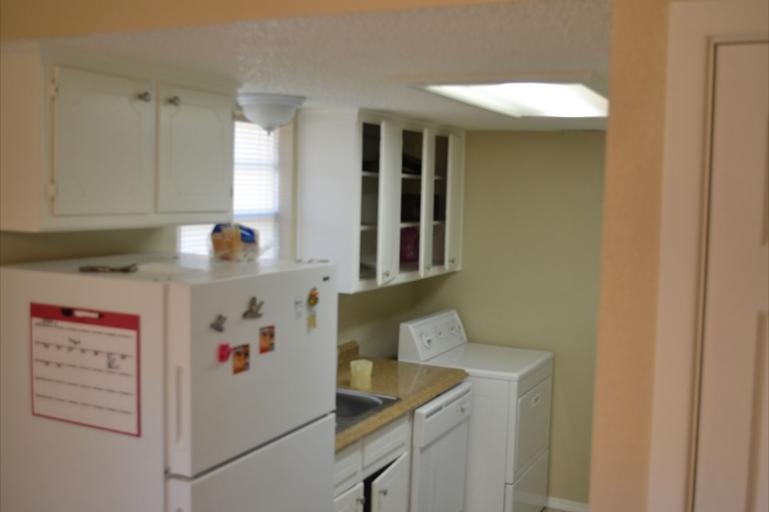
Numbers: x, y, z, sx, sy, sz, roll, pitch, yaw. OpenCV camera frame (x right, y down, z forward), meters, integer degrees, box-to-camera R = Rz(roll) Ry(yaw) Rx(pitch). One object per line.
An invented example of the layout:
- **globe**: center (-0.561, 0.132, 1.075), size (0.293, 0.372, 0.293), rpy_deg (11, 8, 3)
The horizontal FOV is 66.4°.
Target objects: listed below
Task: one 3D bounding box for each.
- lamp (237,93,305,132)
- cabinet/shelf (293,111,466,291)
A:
- **lamp**: center (-0.502, -0.644, 2.581), size (0.190, 0.089, 0.176), rpy_deg (-2, 1, -35)
- **cabinet/shelf**: center (0.027, -0.338, 3.543), size (0.406, 0.983, 1.136), rpy_deg (14, 14, 42)
